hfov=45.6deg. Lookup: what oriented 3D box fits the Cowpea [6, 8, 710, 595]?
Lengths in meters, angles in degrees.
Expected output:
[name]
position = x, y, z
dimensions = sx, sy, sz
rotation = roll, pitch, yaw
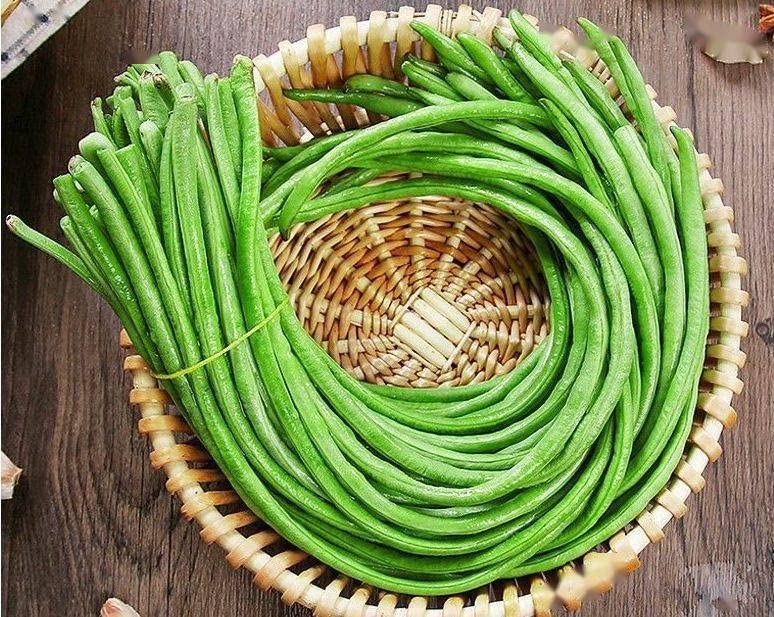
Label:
[Cowpea]
position = -0.022, -0.023, 1.325
dimensions = 0.784, 0.267, 0.815
rotation = -28, 87, -11
